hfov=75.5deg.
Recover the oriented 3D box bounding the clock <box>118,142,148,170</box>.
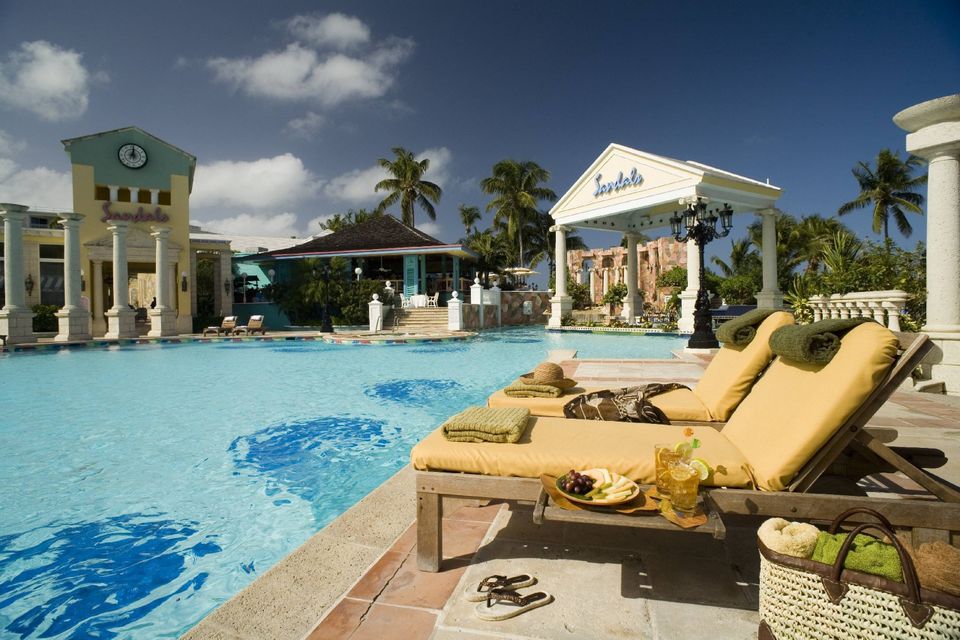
[{"bbox_3d":[-15.811,-7.476,28.056,1.212,1.168,0.163,-10,14,-34],"label":"clock"}]

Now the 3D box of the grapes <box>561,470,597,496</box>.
[{"bbox_3d":[1.130,1.888,7.158,0.332,0.164,0.251,3,2,32],"label":"grapes"}]

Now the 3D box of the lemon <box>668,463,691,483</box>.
[{"bbox_3d":[2.252,1.745,7.051,0.186,0.110,0.182,1,-10,-6],"label":"lemon"}]

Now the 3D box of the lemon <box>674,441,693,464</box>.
[{"bbox_3d":[2.358,1.510,7.139,0.151,0.244,0.251,5,-10,-12],"label":"lemon"}]

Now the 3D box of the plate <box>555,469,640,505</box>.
[{"bbox_3d":[1.354,1.936,7.184,0.975,0.356,0.381,-2,3,7],"label":"plate"}]

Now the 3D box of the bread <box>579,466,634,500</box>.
[{"bbox_3d":[1.500,1.860,7.209,0.348,0.132,0.380,6,13,1],"label":"bread"}]
